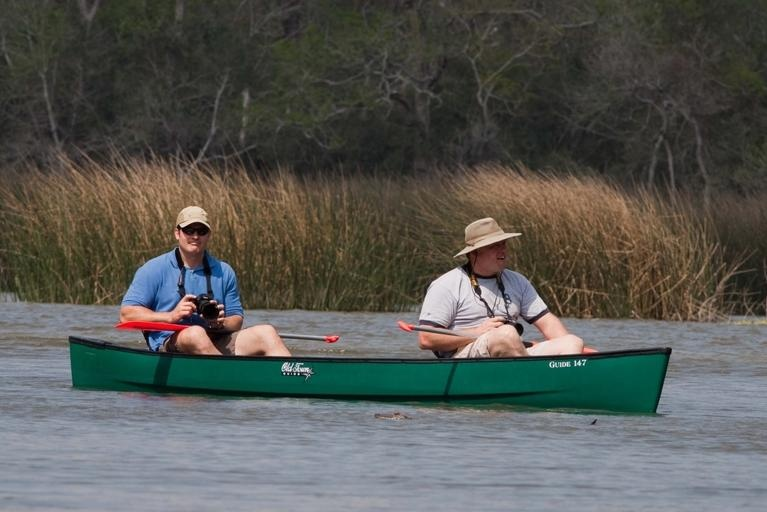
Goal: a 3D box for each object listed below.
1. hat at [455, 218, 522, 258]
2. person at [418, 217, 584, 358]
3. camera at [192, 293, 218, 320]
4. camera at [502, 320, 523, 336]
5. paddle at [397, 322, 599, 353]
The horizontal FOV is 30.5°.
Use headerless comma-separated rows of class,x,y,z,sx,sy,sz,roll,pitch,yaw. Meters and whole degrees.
hat,0.951,-0.220,13.511,0.688,0.281,0.669,-12,-3,-30
person,1.186,0.509,13.438,1.689,1.555,1.097,5,13,29
camera,-1.670,0.481,13.403,0.242,0.239,0.117,-1,6,-32
camera,1.220,0.681,13.376,0.225,0.099,0.136,38,-7,-9
paddle,1.095,0.816,14.004,1.686,0.245,0.074,8,33,7
